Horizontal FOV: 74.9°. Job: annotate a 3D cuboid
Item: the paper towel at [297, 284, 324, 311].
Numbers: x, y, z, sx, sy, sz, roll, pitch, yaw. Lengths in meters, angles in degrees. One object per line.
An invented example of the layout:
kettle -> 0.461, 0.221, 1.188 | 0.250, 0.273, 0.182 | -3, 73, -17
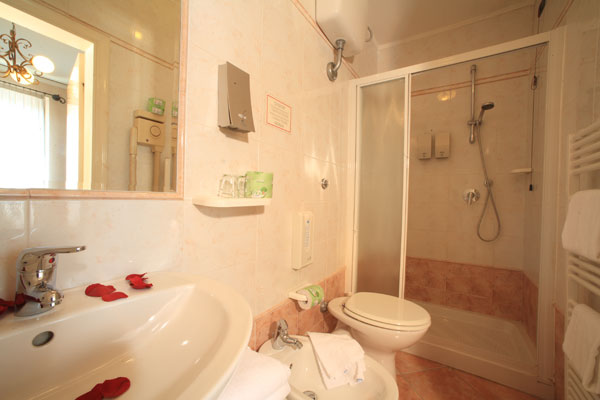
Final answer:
paper towel -> 0.066, 0.563, 2.344 | 0.112, 0.094, 0.156 | -21, -10, 21

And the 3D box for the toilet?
toilet -> 0.498, 0.899, 2.586 | 0.632, 0.459, 0.475 | 8, 7, 19

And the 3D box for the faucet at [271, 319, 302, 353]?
faucet -> -0.091, 0.722, 2.116 | 0.111, 0.132, 0.182 | 3, -5, -43

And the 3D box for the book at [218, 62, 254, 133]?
book -> -0.277, -0.517, 1.970 | 0.108, 0.312, 0.197 | -28, 38, -30

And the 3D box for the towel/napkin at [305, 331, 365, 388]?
towel/napkin -> 0.200, 0.783, 2.049 | 0.239, 0.072, 0.240 | -3, 43, -5

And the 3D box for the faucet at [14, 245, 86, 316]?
faucet -> -0.970, 0.305, 1.518 | 0.280, 0.308, 0.158 | 9, 10, 21
